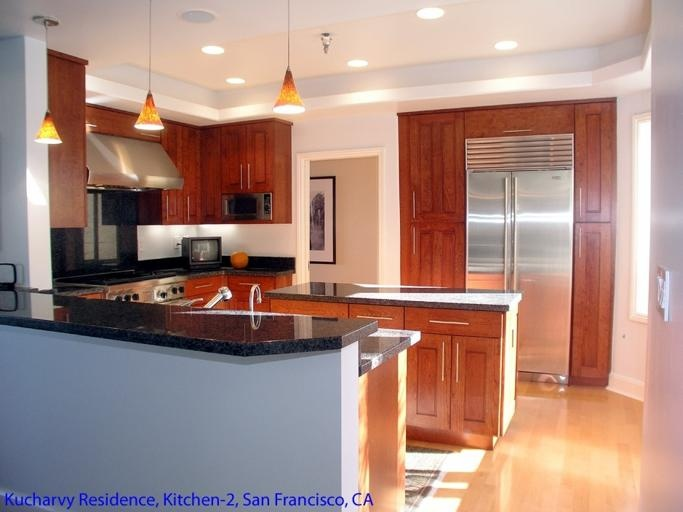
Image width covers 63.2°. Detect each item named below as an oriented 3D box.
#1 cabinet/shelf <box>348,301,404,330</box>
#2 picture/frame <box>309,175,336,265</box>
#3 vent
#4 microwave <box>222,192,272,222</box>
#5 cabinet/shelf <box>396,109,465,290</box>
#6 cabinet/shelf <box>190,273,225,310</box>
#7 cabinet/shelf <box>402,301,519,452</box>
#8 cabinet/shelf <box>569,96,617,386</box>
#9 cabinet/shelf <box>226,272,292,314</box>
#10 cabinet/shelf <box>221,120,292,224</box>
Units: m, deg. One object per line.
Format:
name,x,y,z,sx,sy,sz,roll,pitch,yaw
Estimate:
cabinet/shelf,0.277,0.429,4.058,0.343,0.209,0.212,0,0,18
picture/frame,-0.261,-0.530,8.272,0.443,1.308,0.151,3,9,22
vent,-2.145,-0.957,5.628,0.394,0.564,1.104,3,9,21
microwave,-1.070,-0.562,6.372,0.539,0.278,0.336,1,2,21
cabinet/shelf,1.008,-0.525,6.055,0.687,2.516,0.321,-1,42,9
cabinet/shelf,-1.304,0.345,5.344,0.240,0.292,0.429,0,4,30
cabinet/shelf,0.894,0.908,4.419,0.941,1.309,1.003,-1,-2,24
cabinet/shelf,2.393,-0.109,5.308,0.400,2.714,0.270,3,9,20
cabinet/shelf,-0.938,0.507,6.469,0.679,0.639,0.470,0,2,22
cabinet/shelf,-0.993,-0.956,6.558,0.751,1.214,0.458,1,4,22
